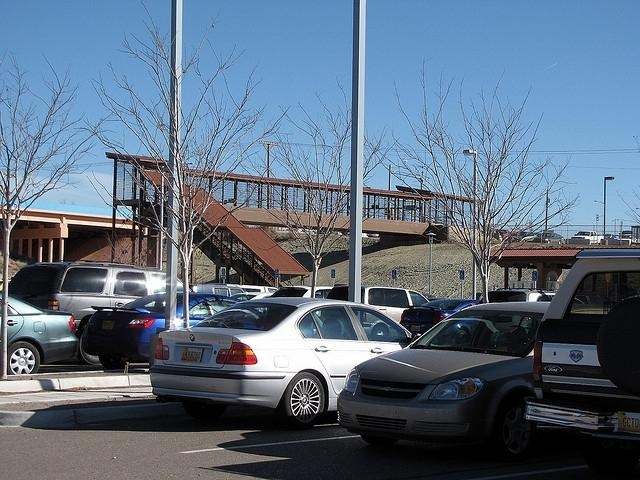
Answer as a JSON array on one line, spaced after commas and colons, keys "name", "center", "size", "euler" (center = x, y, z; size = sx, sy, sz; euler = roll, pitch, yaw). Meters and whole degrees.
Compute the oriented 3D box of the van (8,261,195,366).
[{"name": "van", "center": [-5.652, 1.560, 16.870], "size": [4.324, 1.581, 2.190], "euler": [-1, 0, -42]}]
